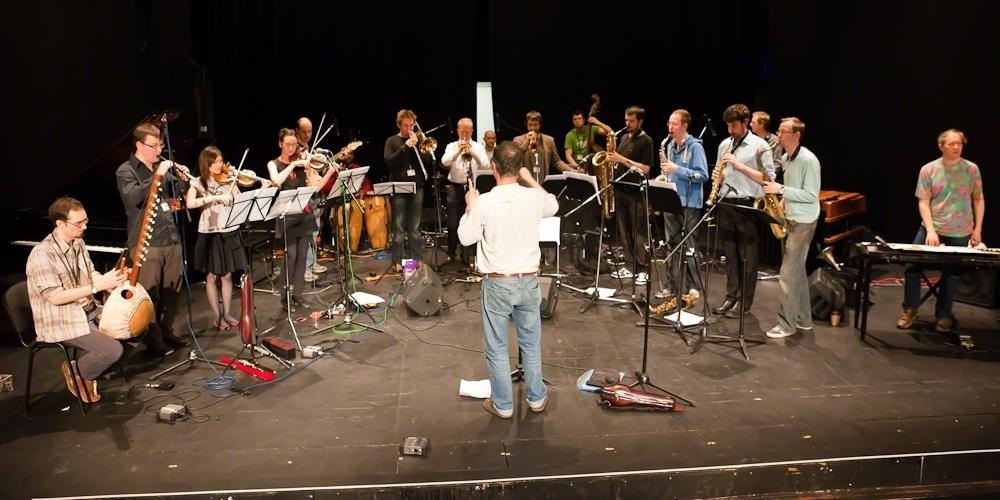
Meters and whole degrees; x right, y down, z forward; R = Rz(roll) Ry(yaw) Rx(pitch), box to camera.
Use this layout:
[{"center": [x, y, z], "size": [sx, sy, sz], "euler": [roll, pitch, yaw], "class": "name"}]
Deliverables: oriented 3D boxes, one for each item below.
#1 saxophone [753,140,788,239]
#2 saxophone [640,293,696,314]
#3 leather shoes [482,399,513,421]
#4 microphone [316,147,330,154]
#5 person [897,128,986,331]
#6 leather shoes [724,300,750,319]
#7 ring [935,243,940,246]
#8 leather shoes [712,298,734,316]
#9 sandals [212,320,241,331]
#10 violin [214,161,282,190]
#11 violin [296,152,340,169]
[{"center": [4.280, -0.918, 10.693], "size": [0.496, 1.503, 0.515], "euler": [1, 2, 0], "class": "saxophone"}, {"center": [2.787, 0.888, 11.446], "size": [0.753, 0.194, 0.211], "euler": [-17, 28, -7], "class": "saxophone"}, {"center": [-0.037, 2.221, 9.644], "size": [0.188, 0.151, 0.462], "euler": [-8, 13, -33], "class": "leather shoes"}, {"center": [-3.004, -1.664, 11.741], "size": [0.211, 0.175, 0.625], "euler": [4, 7, -16], "class": "microphone"}, {"center": [6.954, -0.268, 10.992], "size": [1.291, 3.109, 1.067], "euler": [0, 11, 1], "class": "person"}, {"center": [3.805, 0.998, 11.286], "size": [0.236, 0.235, 0.640], "euler": [-2, -1, 44], "class": "leather shoes"}, {"center": [6.871, -0.086, 10.909], "size": [0.068, 0.037, 0.036], "euler": [-20, 19, -28], "class": "ring"}, {"center": [3.728, 0.953, 11.551], "size": [0.520, 0.188, 0.156], "euler": [-13, 7, -19], "class": "leather shoes"}, {"center": [-4.471, 1.214, 11.259], "size": [0.299, 0.091, 0.295], "euler": [-2, -1, 37], "class": "sandals"}, {"center": [-3.951, -1.099, 10.891], "size": [0.956, 0.338, 0.172], "euler": [15, -27, -4], "class": "violin"}, {"center": [-2.998, -1.478, 11.399], "size": [0.682, 0.186, 0.331], "euler": [8, 18, -9], "class": "violin"}]
